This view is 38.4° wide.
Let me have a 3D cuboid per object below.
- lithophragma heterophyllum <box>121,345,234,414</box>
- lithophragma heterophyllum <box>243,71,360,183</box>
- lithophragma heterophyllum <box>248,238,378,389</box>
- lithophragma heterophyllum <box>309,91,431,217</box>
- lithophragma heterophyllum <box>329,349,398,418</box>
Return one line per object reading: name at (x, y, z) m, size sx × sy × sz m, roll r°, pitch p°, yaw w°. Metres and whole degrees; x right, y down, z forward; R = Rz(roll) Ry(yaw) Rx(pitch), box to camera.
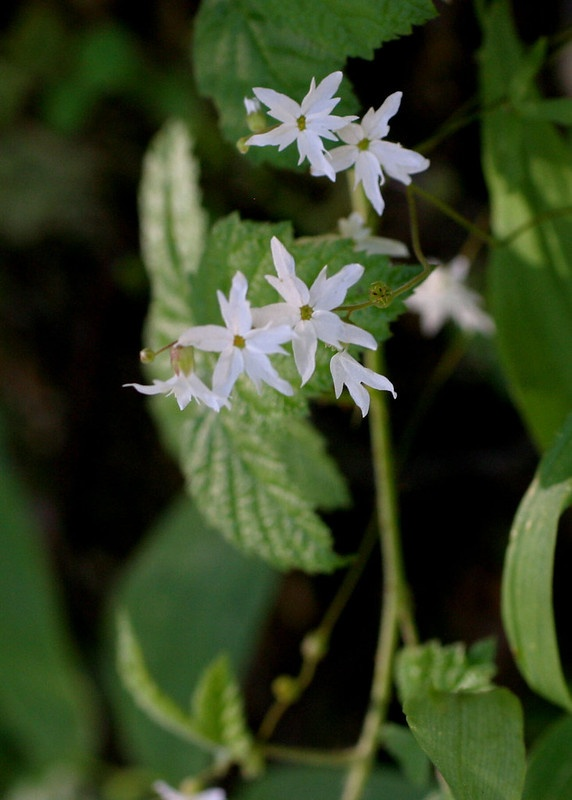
lithophragma heterophyllum at (-0.090, -0.020, 0.693) m, size 0.074 × 0.072 × 0.045 m, roll -13°, pitch 107°, yaw -40°
lithophragma heterophyllum at (0.012, -0.224, 0.671) m, size 0.093 × 0.071 × 0.074 m, roll 23°, pitch 64°, yaw 13°
lithophragma heterophyllum at (0.022, -0.072, 0.645) m, size 0.091 × 0.072 × 0.098 m, roll -16°, pitch 62°, yaw -8°
lithophragma heterophyllum at (0.072, -0.198, 0.684) m, size 0.094 × 0.044 × 0.100 m, roll 2°, pitch 102°, yaw -18°
lithophragma heterophyllum at (0.064, -0.018, 0.696) m, size 0.018 × 0.053 × 0.053 m, roll -23°, pitch 83°, yaw -55°
